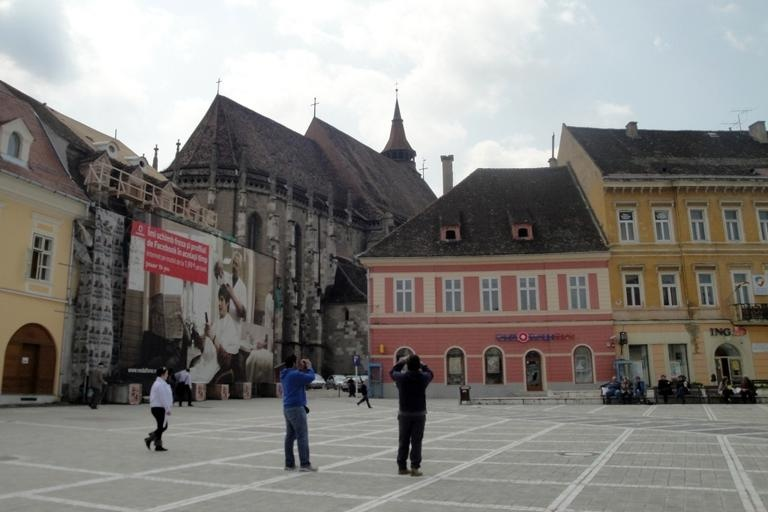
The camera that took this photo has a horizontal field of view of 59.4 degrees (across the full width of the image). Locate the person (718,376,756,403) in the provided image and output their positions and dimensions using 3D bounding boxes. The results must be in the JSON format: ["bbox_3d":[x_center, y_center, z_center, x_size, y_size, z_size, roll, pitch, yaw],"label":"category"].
[{"bbox_3d":[18.282,7.009,34.810,1.639,0.917,1.578,2,-7,-2],"label":"person"}]

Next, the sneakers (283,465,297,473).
[{"bbox_3d":[-2.306,5.265,16.650,0.311,0.134,0.122,-1,-9,5],"label":"sneakers"}]

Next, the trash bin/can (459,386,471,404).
[{"bbox_3d":[4.532,7.698,37.526,0.577,0.915,0.934,-2,-13,4],"label":"trash bin/can"}]

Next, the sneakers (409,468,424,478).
[{"bbox_3d":[0.768,5.170,16.144,0.289,0.195,0.148,0,-14,-6],"label":"sneakers"}]

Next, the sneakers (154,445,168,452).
[{"bbox_3d":[-6.171,5.315,18.660,0.333,0.212,0.129,1,-7,-10],"label":"sneakers"}]

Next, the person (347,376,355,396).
[{"bbox_3d":[-2.087,8.564,44.051,0.378,1.123,1.389,1,-13,-8],"label":"person"}]

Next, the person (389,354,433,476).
[{"bbox_3d":[0.668,3.842,16.355,0.918,2.849,1.409,-1,-14,0],"label":"person"}]
